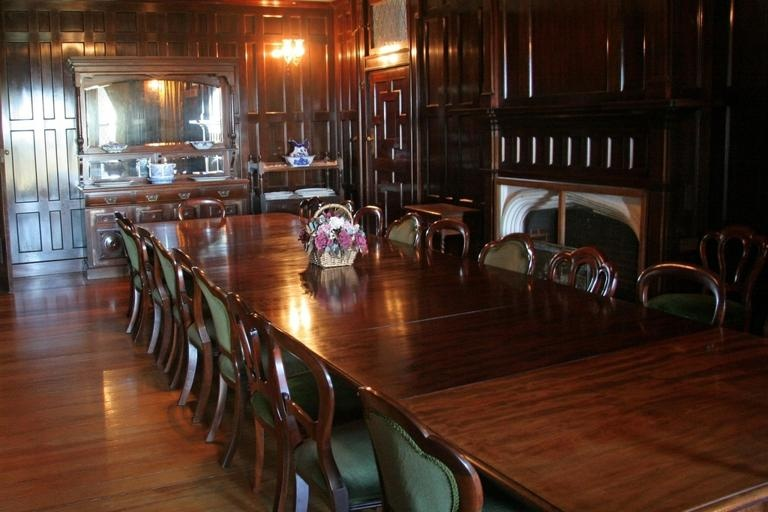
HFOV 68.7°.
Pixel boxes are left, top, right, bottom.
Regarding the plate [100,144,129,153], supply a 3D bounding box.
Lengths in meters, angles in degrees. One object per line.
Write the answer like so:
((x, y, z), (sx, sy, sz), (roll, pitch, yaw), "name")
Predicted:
((-3.590, -1.441, 7.507), (0.323, 0.120, 0.145), (-10, 17, -27), "plate")

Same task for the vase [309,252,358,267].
((-0.338, 0.023, 3.839), (0.181, 0.077, 0.148), (-1, 6, -20), "vase")

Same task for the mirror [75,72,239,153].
((-3.118, -1.943, 7.737), (2.054, 1.080, 0.148), (0, 0, 5), "mirror")

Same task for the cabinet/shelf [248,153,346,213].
((-1.329, -1.070, 8.202), (1.096, 1.115, 0.406), (-5, 12, -23), "cabinet/shelf")

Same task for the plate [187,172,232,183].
((-2.426, -1.095, 7.861), (0.560, 0.096, 0.347), (-7, 16, -20), "plate")

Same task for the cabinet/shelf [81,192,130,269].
((-3.626, -0.337, 7.408), (0.544, 0.950, 0.462), (-4, 23, -31), "cabinet/shelf")

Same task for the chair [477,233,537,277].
((0.780, -0.016, 4.008), (0.198, 0.282, 0.223), (3, 9, 9), "chair")

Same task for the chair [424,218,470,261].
((0.583, -0.155, 5.154), (0.253, 0.209, 0.409), (-1, 7, -14), "chair")

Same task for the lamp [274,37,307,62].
((-1.418, -3.029, 8.339), (0.479, 0.348, 0.246), (-4, 15, -10), "lamp")

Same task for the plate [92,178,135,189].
((-3.581, -0.955, 7.424), (0.515, 0.079, 0.453), (-7, 17, -21), "plate")

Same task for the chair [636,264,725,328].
((1.748, 0.240, 3.320), (0.318, 0.408, 0.302), (-11, 9, -24), "chair")

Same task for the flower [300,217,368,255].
((-0.324, -0.135, 3.807), (0.289, 0.169, 0.293), (1, 6, -33), "flower")
